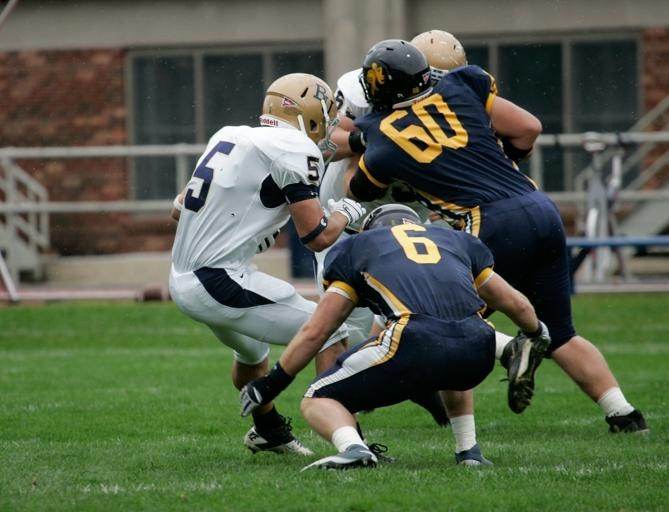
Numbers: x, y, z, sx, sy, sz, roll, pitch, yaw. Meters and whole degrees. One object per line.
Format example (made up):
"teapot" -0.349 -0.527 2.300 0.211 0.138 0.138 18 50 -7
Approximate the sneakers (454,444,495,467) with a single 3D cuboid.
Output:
"sneakers" 0.746 1.085 6.853 0.080 0.094 0.235 -5 -9 33

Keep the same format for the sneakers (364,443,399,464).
"sneakers" 0.259 1.086 6.996 0.190 0.081 0.067 37 23 32

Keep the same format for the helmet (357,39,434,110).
"helmet" 0.361 -1.077 7.382 0.399 0.399 0.508 -19 26 -29

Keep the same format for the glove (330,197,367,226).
"glove" 0.059 -0.277 7.195 0.163 0.069 0.164 28 -2 36

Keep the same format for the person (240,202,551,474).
"person" 0.462 0.476 6.997 1.786 1.312 1.010 4 -8 -24

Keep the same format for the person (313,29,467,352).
"person" 0.322 -0.330 7.053 0.834 2.276 0.835 -16 36 -15

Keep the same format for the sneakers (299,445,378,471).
"sneakers" -0.002 1.055 6.698 0.438 0.171 0.141 -3 -33 7

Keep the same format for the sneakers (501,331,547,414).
"sneakers" 1.041 0.619 7.102 0.258 0.488 0.176 11 9 23

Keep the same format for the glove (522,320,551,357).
"glove" 1.141 0.456 7.079 0.112 0.234 0.093 -19 -5 -21

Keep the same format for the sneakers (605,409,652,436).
"sneakers" 1.693 0.956 7.375 0.286 0.117 0.099 0 -16 1

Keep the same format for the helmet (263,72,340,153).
"helmet" -0.234 -0.857 7.346 0.394 0.386 0.516 9 5 37
